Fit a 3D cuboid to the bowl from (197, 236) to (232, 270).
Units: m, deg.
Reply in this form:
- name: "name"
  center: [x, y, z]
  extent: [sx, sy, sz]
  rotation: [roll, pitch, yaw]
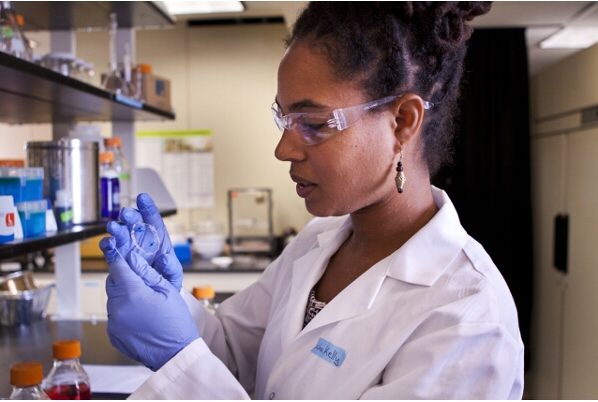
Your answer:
- name: "bowl"
  center: [-0.716, 0.424, 4.891]
  extent: [0.245, 0.199, 0.270]
  rotation: [1, -4, -24]
